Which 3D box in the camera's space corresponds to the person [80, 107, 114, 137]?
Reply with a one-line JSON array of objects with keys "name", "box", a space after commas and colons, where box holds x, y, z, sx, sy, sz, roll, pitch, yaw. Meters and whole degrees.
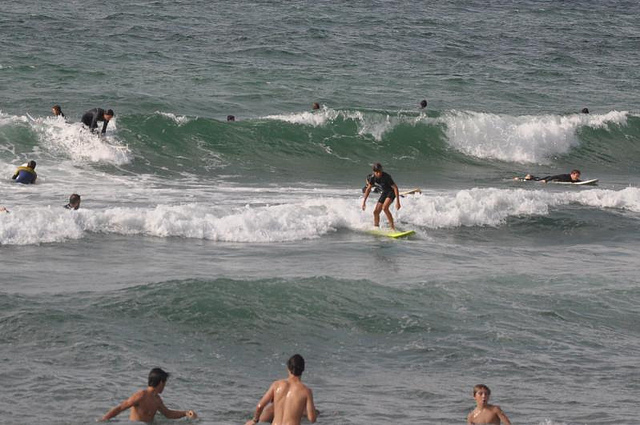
[{"name": "person", "box": [-8.715, -3.436, 45.825, 0.953, 1.362, 2.466, -2, 13, -17]}]

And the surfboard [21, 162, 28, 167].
[{"name": "surfboard", "box": [-11.059, -1.749, 44.063, 0.276, 0.158, 0.245, 2, -1, 13]}]

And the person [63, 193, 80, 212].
[{"name": "person", "box": [-8.394, -0.320, 39.827, 0.488, 0.540, 0.905, -1, 13, -12]}]

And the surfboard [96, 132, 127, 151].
[{"name": "surfboard", "box": [-8.321, -2.785, 47.155, 2.169, 0.501, 0.369, 4, 32, 42]}]

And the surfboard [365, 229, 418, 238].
[{"name": "surfboard", "box": [2.552, 0.771, 40.597, 1.775, 0.227, 0.556, 1, 12, -2]}]

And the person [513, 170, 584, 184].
[{"name": "person", "box": [9.304, -1.330, 47.612, 2.369, 0.311, 0.894, -2, 2, 9]}]

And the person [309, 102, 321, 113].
[{"name": "person", "box": [-0.179, -4.605, 51.894, 0.270, 0.288, 0.802, -4, 12, -4]}]

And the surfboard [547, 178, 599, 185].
[{"name": "surfboard", "box": [10.211, -1.203, 47.486, 2.862, 0.323, 0.258, 2, 12, 25]}]
